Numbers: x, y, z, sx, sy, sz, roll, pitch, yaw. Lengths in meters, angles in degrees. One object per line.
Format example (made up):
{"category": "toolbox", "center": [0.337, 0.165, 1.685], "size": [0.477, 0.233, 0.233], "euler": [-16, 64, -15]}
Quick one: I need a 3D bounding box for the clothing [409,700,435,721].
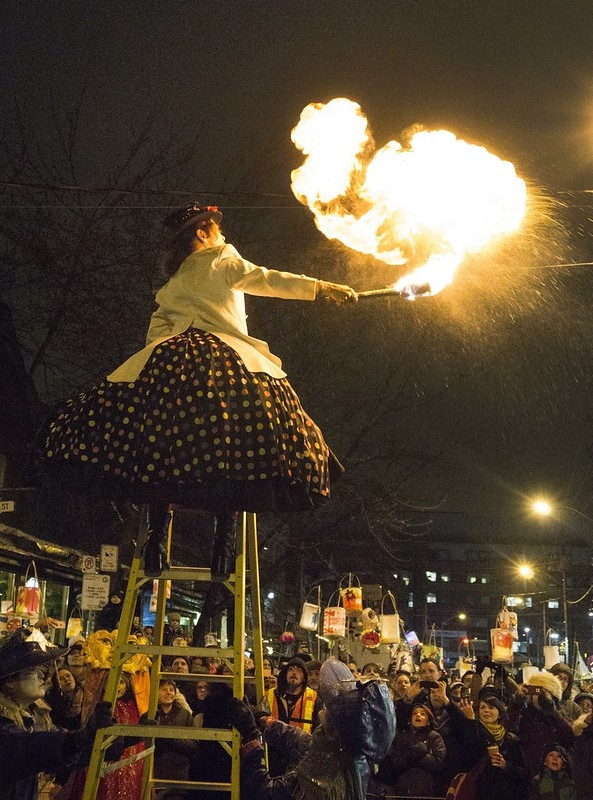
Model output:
{"category": "clothing", "center": [1.203, 3.014, 6.587], "size": [0.181, 0.230, 0.239], "euler": [0, -22, 14]}

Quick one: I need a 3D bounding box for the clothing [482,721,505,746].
{"category": "clothing", "center": [1.798, 3.066, 6.227], "size": [0.124, 0.153, 0.159], "euler": [4, -34, 10]}

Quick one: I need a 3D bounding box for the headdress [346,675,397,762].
{"category": "headdress", "center": [0.373, 1.588, 3.328], "size": [0.204, 0.391, 0.360], "euler": [4, -16, 9]}

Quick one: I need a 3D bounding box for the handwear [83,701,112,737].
{"category": "handwear", "center": [-0.891, 1.461, 3.120], "size": [0.093, 0.145, 0.174], "euler": [2, -17, 17]}

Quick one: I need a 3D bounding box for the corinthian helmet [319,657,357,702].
{"category": "corinthian helmet", "center": [0.193, 1.442, 3.486], "size": [0.174, 0.241, 0.095], "euler": [5, -54, -18]}

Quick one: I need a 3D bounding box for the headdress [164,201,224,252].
{"category": "headdress", "center": [-0.698, -1.229, 4.587], "size": [0.362, 0.412, 0.228], "euler": [0, 0, -24]}

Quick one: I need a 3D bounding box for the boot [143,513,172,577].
{"category": "boot", "center": [-0.780, 0.772, 3.891], "size": [0.159, 0.335, 0.471], "euler": [6, 1, -6]}

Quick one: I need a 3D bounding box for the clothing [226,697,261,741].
{"category": "clothing", "center": [-0.256, 1.549, 3.333], "size": [0.128, 0.225, 0.090], "euler": [-25, -4, 2]}
